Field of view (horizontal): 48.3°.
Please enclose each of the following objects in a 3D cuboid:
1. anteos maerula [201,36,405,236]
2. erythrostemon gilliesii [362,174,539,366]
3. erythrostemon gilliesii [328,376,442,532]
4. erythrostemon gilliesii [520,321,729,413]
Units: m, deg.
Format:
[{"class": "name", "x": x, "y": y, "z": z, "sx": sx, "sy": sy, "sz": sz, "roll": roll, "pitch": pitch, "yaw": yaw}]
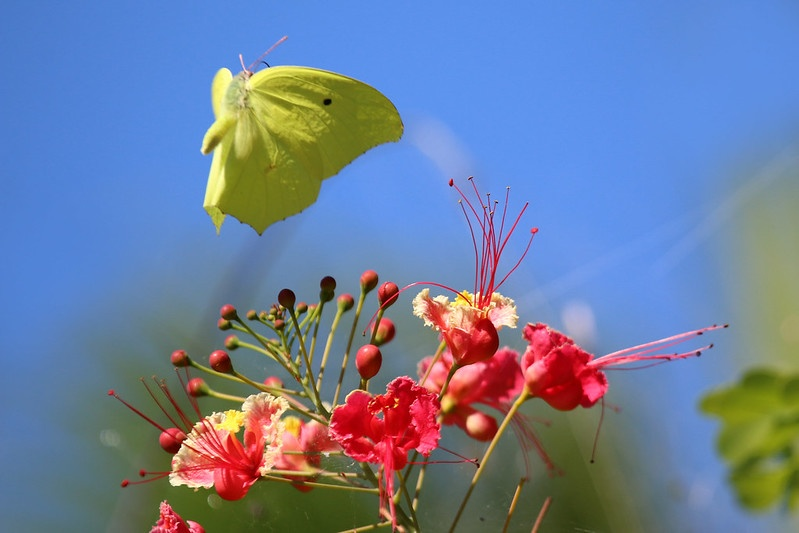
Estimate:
[{"class": "anteos maerula", "x": -0.406, "y": -0.477, "z": 3.722, "sx": 0.779, "sy": 0.621, "sz": 0.294, "roll": 5, "pitch": -16, "yaw": 11}, {"class": "erythrostemon gilliesii", "x": 0.314, "y": -0.076, "z": 3.521, "sx": 0.441, "sy": 1.017, "sz": 0.365, "roll": 0, "pitch": 8, "yaw": -2}, {"class": "erythrostemon gilliesii", "x": -0.055, "y": 0.651, "z": 3.204, "sx": 0.331, "sy": 0.541, "sz": 0.210, "roll": 1, "pitch": -5, "yaw": 2}, {"class": "erythrostemon gilliesii", "x": 0.871, "y": 0.400, "z": 3.501, "sx": 0.727, "sy": 0.356, "sz": 0.412, "roll": 0, "pitch": 2, "yaw": 1}]
